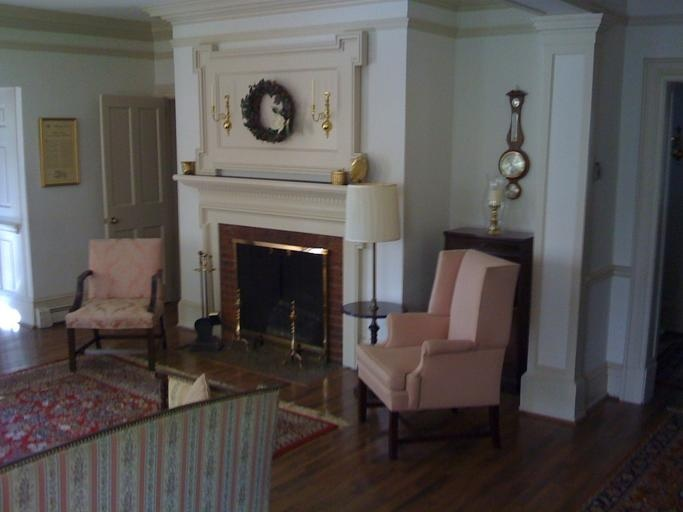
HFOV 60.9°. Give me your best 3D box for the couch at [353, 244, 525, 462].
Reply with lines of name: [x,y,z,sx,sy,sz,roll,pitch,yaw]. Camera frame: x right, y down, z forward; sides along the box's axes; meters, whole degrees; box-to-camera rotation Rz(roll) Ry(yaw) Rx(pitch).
couch: [0.642,0.539,4.556,1.184,1.760,1.284,-1,6,-15]

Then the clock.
clock: [1.397,-0.884,4.656,0.234,0.865,0.100,11,16,40]

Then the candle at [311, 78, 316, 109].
candle: [-0.231,-1.343,4.873,0.032,0.261,0.068,-2,12,-8]

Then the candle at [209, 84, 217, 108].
candle: [-1.201,-1.485,5.435,0.032,0.230,0.075,-8,14,-32]
